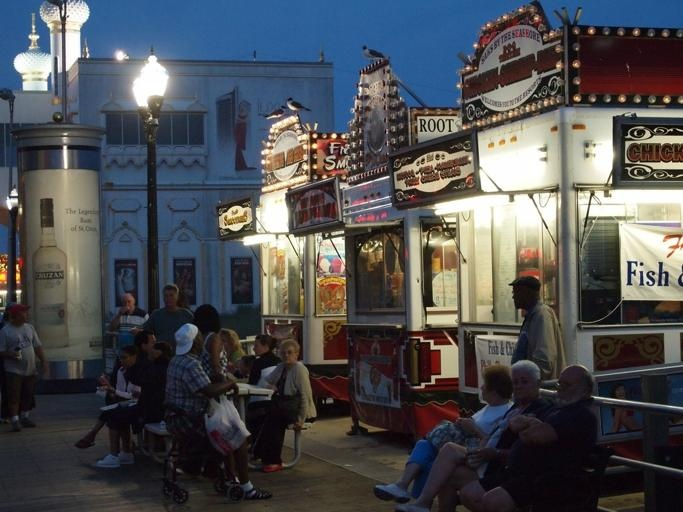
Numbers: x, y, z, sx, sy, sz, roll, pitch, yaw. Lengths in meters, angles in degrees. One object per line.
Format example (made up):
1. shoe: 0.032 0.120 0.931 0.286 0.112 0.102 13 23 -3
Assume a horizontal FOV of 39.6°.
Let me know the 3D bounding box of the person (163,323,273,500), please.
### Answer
1. person: -1.359 1.595 9.833 0.935 1.788 0.550 0 -2 -8

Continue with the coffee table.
1. coffee table: -1.151 1.917 10.857 0.549 0.748 0.775 5 -10 -15

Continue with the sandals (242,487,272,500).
1. sandals: -0.871 2.429 9.702 0.292 0.120 0.108 -2 2 -5

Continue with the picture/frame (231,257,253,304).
1. picture/frame: -4.458 1.064 42.112 1.003 2.104 0.415 -1 -2 -2

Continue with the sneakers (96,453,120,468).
1. sneakers: -2.781 2.420 11.237 0.256 0.128 0.137 3 -4 9

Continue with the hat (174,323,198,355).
1. hat: -1.595 0.853 9.747 0.204 0.316 0.101 -10 -32 27

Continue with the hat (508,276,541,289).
1. hat: 1.837 0.258 9.409 0.198 0.081 0.155 4 -4 16

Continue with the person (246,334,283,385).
1. person: -0.989 1.403 12.014 0.411 0.806 0.448 5 0 22

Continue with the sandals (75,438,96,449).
1. sandals: -3.162 2.293 11.695 0.133 0.078 0.258 -3 -3 29

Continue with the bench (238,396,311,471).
1. bench: -0.809 2.017 11.044 0.738 0.826 0.835 4 -7 -17

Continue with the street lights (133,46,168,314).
1. street lights: -2.917 -1.133 14.447 0.498 3.902 0.672 0 -2 -12

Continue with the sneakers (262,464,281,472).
1. sneakers: -0.804 2.422 10.827 0.200 0.072 0.080 3 -4 -20

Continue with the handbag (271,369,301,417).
1. handbag: -0.629 1.655 11.036 0.350 0.352 0.500 6 -15 3

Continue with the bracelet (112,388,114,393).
1. bracelet: -2.822 1.658 11.716 0.035 0.065 0.035 2 -4 -33

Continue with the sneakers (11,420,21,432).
1. sneakers: -4.754 2.463 13.819 0.130 0.153 0.331 0 -2 -19

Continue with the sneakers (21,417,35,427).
1. sneakers: -4.680 2.456 14.121 0.216 0.154 0.309 0 -2 -15

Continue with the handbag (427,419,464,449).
1. handbag: 0.889 1.467 8.024 0.277 0.195 0.209 2 4 -22

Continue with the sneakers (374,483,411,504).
1. sneakers: 0.408 2.012 8.031 0.316 0.135 0.148 12 37 5
